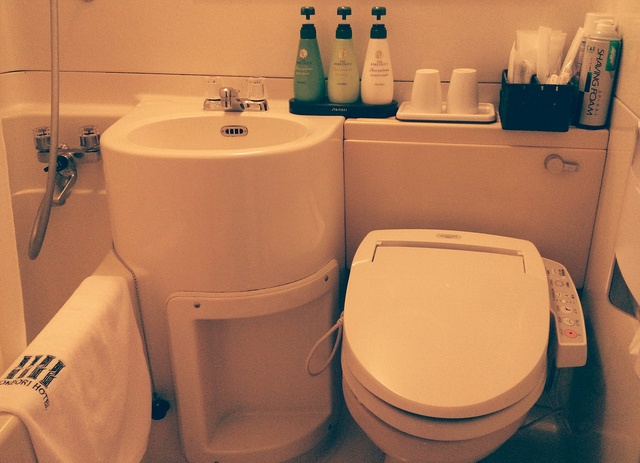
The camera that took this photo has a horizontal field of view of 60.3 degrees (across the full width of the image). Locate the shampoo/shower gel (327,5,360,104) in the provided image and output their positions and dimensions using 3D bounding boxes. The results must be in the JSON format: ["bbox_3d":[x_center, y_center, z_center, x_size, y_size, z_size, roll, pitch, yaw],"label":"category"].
[{"bbox_3d":[0.065,-0.459,1.509,0.089,0.204,0.062,-1,21,0],"label":"shampoo/shower gel"}]

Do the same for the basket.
[{"bbox_3d":[0.524,-0.306,1.325,0.130,0.090,0.145,5,31,14],"label":"basket"}]

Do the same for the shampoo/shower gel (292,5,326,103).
[{"bbox_3d":[-0.033,-0.462,1.514,0.084,0.203,0.071,1,22,7],"label":"shampoo/shower gel"}]

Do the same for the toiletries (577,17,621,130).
[{"bbox_3d":[0.659,-0.368,1.305,0.068,0.251,0.050,6,23,19],"label":"toiletries"}]
